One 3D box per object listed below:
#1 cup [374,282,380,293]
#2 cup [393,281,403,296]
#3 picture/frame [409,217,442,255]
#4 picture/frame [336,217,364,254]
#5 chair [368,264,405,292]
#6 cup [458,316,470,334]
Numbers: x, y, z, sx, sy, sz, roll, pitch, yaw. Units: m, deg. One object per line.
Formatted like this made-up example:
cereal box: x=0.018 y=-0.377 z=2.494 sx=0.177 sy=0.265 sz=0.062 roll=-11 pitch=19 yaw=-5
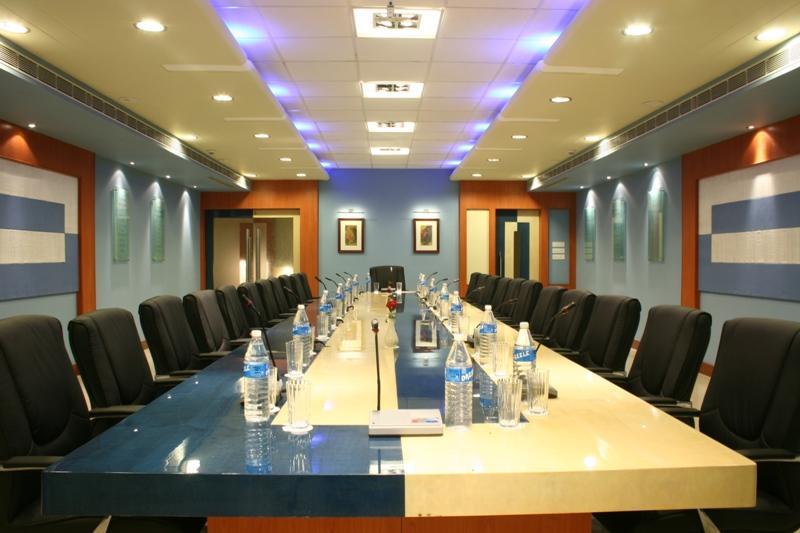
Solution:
cup: x=-0.362 y=0.325 z=8.501 sx=0.121 sy=0.195 sz=0.122 roll=-1 pitch=0 yaw=0
cup: x=-0.024 y=0.349 z=8.497 sx=0.158 sy=0.250 sz=0.158 roll=-2 pitch=-6 yaw=0
picture/frame: x=0.531 y=-0.639 z=11.823 sx=0.772 sy=0.995 sz=0.069 roll=0 pitch=0 yaw=-7
picture/frame: x=-1.088 y=-0.676 z=11.775 sx=0.784 sy=0.973 sz=0.065 roll=0 pitch=0 yaw=-6
chair: x=-0.231 y=0.209 z=9.977 sx=0.438 sy=0.612 sz=0.507 roll=0 pitch=-9 yaw=-4
cup: x=0.502 y=0.467 z=4.435 sx=0.115 sy=0.192 sz=0.122 roll=-1 pitch=4 yaw=0
